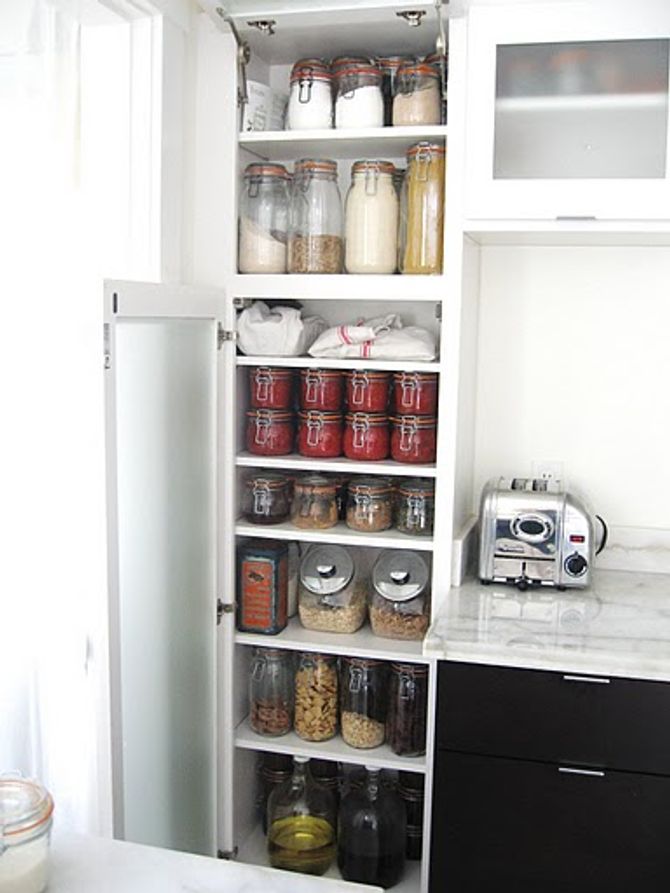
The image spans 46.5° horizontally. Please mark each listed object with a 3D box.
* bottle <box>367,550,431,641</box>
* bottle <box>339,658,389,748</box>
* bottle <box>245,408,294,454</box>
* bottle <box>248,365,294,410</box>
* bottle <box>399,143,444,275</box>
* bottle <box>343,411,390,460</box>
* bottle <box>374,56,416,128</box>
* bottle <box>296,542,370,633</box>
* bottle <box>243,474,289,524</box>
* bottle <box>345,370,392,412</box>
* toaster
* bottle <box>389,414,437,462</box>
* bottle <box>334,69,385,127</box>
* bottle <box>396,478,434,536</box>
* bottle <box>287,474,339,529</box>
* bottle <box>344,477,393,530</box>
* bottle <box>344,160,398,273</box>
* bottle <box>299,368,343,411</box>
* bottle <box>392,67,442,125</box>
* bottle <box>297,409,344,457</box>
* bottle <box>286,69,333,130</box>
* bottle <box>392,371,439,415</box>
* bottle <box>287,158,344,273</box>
[{"bbox_3d":[0.159,0.359,1.868,0.160,0.223,0.202,3,46,9],"label":"bottle"},{"bbox_3d":[0.072,0.625,1.920,0.150,0.268,0.191,1,0,0],"label":"bottle"},{"bbox_3d":[-0.156,-0.043,1.892,0.100,0.104,0.109,1,6,2],"label":"bottle"},{"bbox_3d":[-0.157,-0.143,1.884,0.096,0.099,0.102,2,4,12],"label":"bottle"},{"bbox_3d":[0.194,-0.524,1.722,0.106,0.280,0.046,-2,4,15],"label":"bottle"},{"bbox_3d":[0.074,-0.029,1.837,0.101,0.106,0.108,2,4,7],"label":"bottle"},{"bbox_3d":[0.126,-0.852,1.855,0.130,0.169,0.099,17,27,36],"label":"bottle"},{"bbox_3d":[0.017,0.347,2.015,0.164,0.239,0.209,4,35,10],"label":"bottle"},{"bbox_3d":[-0.172,0.129,1.912,0.113,0.113,0.115,0,3,-8],"label":"bottle"},{"bbox_3d":[0.071,-0.128,1.814,0.090,0.093,0.098,1,3,4],"label":"bottle"},{"bbox_3d":[0.473,0.169,1.806,0.224,0.188,0.250,2,8,17],"label":"toaster"},{"bbox_3d":[0.180,-0.023,1.805,0.099,0.104,0.106,2,5,9],"label":"bottle"},{"bbox_3d":[0.045,-0.765,1.739,0.112,0.124,0.126,-10,24,-27],"label":"bottle"},{"bbox_3d":[0.190,0.148,1.832,0.097,0.110,0.112,1,3,5],"label":"bottle"},{"bbox_3d":[-0.050,0.138,1.887,0.096,0.120,0.123,2,1,6],"label":"bottle"},{"bbox_3d":[0.083,0.137,1.913,0.109,0.123,0.117,1,2,4],"label":"bottle"},{"bbox_3d":[0.080,-0.510,1.754,0.127,0.246,0.091,-3,4,2],"label":"bottle"},{"bbox_3d":[-0.033,-0.139,1.861,0.094,0.099,0.101,1,6,8],"label":"bottle"},{"bbox_3d":[0.170,-0.761,1.707,0.109,0.171,0.147,-1,25,2],"label":"bottle"},{"bbox_3d":[-0.036,-0.034,1.928,0.099,0.105,0.109,2,5,7],"label":"bottle"},{"bbox_3d":[-0.053,-0.768,1.762,0.112,0.118,0.119,4,9,20],"label":"bottle"},{"bbox_3d":[0.186,-0.123,1.799,0.093,0.095,0.100,1,2,10],"label":"bottle"},{"bbox_3d":[-0.052,-0.527,1.800,0.124,0.256,0.063,-3,4,-7],"label":"bottle"}]
